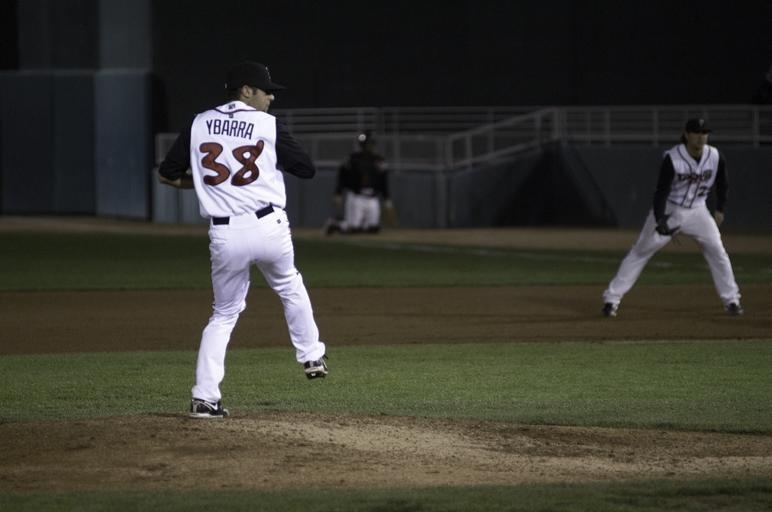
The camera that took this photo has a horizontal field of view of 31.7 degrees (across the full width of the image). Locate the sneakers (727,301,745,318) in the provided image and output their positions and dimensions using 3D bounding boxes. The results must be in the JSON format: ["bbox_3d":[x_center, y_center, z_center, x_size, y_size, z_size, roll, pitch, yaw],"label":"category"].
[{"bbox_3d":[5.889,0.877,22.845,0.198,0.211,0.342,0,15,18],"label":"sneakers"}]

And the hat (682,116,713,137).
[{"bbox_3d":[5.112,-2.104,22.446,0.475,0.292,0.608,0,3,-9],"label":"hat"}]

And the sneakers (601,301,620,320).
[{"bbox_3d":[3.858,0.951,23.278,0.168,0.226,0.273,-32,22,18],"label":"sneakers"}]
